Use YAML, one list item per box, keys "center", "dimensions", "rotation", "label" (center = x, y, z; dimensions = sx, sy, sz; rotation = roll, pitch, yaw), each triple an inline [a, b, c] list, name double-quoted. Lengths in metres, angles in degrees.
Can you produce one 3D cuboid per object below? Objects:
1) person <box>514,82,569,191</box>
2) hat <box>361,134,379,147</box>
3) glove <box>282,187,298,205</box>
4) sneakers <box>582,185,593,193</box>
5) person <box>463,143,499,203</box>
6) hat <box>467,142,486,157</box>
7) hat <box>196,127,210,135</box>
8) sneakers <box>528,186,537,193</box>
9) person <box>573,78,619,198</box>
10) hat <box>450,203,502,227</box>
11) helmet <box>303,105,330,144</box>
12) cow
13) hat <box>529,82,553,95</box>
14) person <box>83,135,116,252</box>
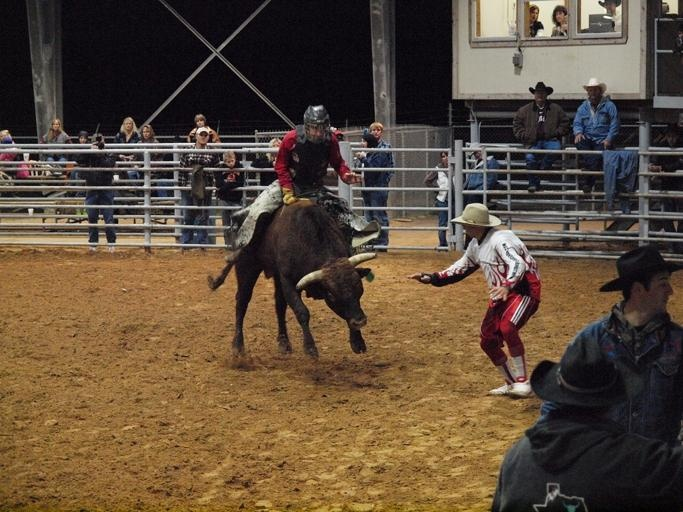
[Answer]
- center: [3.460, -2.026, 15.572]
  dimensions: [0.878, 1.817, 0.774]
  rotation: [-3, 8, -4]
  label: "person"
- center: [0.531, -2.059, 16.407]
  dimensions: [0.263, 0.247, 0.201]
  rotation: [-3, 11, -9]
  label: "hat"
- center: [-0.599, -0.677, 10.507]
  dimensions: [0.126, 0.081, 0.209]
  rotation: [-1, 27, 4]
  label: "glove"
- center: [4.181, -1.122, 15.389]
  dimensions: [0.183, 0.122, 0.160]
  rotation: [-1, -1, 17]
  label: "sneakers"
- center: [2.482, -1.403, 16.007]
  dimensions: [0.630, 0.991, 1.682]
  rotation: [-2, 8, 9]
  label: "person"
- center: [2.480, -1.936, 16.558]
  dimensions: [0.255, 0.326, 0.478]
  rotation: [-13, 11, -3]
  label: "hat"
- center: [-2.550, -2.266, 16.639]
  dimensions: [0.190, 0.091, 0.258]
  rotation: [2, 6, -17]
  label: "hat"
- center: [3.283, -1.123, 15.488]
  dimensions: [0.157, 0.114, 0.176]
  rotation: [-1, 8, 11]
  label: "sneakers"
- center: [4.261, -1.986, 15.153]
  dimensions: [0.645, 1.870, 1.003]
  rotation: [-3, 8, -2]
  label: "person"
- center: [1.396, -0.381, 9.080]
  dimensions: [0.329, 0.117, 0.279]
  rotation: [-1, 9, -28]
  label: "hat"
- center: [-0.278, -1.526, 10.443]
  dimensions: [0.347, 0.385, 0.438]
  rotation: [1, 20, -3]
  label: "helmet"
- center: [-0.404, 0.299, 10.429]
  dimensions: [2.073, 1.840, 0.839]
  rotation: [5, 11, 42]
  label: "cow"
- center: [3.460, -2.911, 15.634]
  dimensions: [0.418, 0.180, 0.484]
  rotation: [1, -6, 11]
  label: "hat"
- center: [-4.447, -1.144, 16.754]
  dimensions: [0.582, 2.087, 0.850]
  rotation: [-5, 8, -14]
  label: "person"
